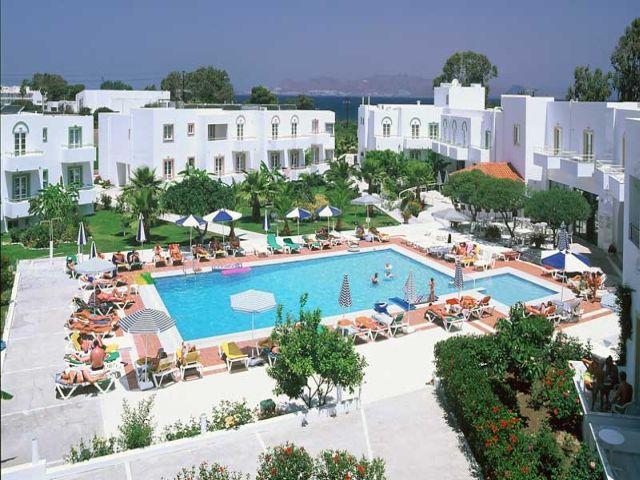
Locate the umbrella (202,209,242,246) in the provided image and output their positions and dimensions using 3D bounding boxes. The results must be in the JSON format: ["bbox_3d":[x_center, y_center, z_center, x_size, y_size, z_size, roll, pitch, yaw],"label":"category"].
[{"bbox_3d":[-6.488,-0.841,36.195,2.076,1.132,2.151,-2,9,-1],"label":"umbrella"}]

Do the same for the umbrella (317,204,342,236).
[{"bbox_3d":[0.533,-1.437,37.547,1.815,2.590,1.931,0,13,5],"label":"umbrella"}]
